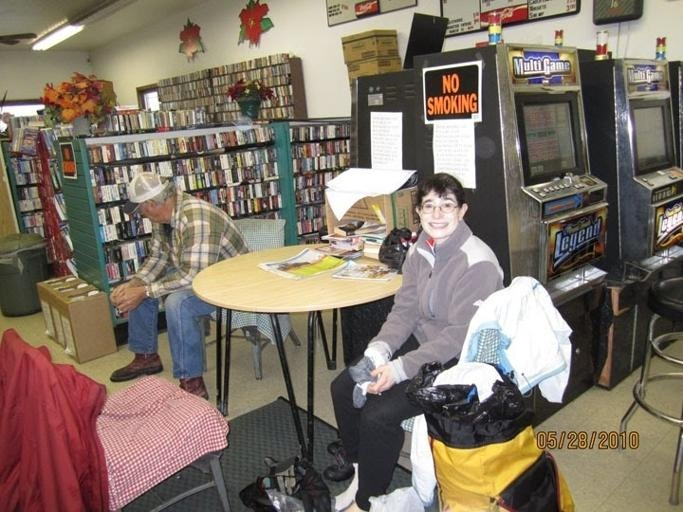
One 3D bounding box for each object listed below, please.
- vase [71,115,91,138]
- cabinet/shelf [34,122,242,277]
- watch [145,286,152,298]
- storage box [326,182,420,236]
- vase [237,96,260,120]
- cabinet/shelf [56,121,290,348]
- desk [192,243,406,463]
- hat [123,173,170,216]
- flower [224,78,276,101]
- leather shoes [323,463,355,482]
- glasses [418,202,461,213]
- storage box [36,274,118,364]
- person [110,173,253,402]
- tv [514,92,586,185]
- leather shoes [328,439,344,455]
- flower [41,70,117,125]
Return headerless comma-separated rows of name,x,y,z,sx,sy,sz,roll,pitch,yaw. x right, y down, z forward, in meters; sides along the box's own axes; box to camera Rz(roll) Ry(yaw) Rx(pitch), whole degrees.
vase,-2.130,-1.060,4.163,0.138,0.141,0.136,-15,-23,4
cabinet/shelf,-1.611,-0.483,4.107,0.414,1.115,1.185,15,23,41
watch,-1.268,0.239,3.341,0.045,0.063,0.018,-1,6,26
storage box,0.192,-0.269,3.097,0.515,0.275,0.347,2,1,32
vase,-1.003,-1.613,5.589,0.246,0.289,0.487,-10,13,-9
cabinet/shelf,-1.379,-0.150,3.858,0.559,1.554,1.626,7,21,42
desk,-0.306,0.654,2.932,1.062,0.734,1.160,8,19,25
hat,-1.267,-0.423,3.385,0.294,0.164,0.218,-31,45,-13
flower,-1.028,-1.846,5.785,0.416,0.197,0.417,-11,19,-38
leather shoes,-0.016,1.106,2.619,0.133,0.046,0.089,-3,8,-32
glasses,0.437,-0.215,2.297,0.161,0.051,0.030,-5,13,14
storage box,-2.036,0.499,3.977,0.274,0.408,0.567,-22,26,-39
person,-1.081,0.172,3.522,0.983,1.508,0.901,-15,19,-37
tv,1.096,-0.628,2.718,0.481,0.425,0.050,-15,9,-38
leather shoes,-0.027,1.037,2.776,0.103,0.056,0.140,3,-4,-12
flower,-2.168,-1.291,4.212,0.482,0.485,0.215,2,21,-34
